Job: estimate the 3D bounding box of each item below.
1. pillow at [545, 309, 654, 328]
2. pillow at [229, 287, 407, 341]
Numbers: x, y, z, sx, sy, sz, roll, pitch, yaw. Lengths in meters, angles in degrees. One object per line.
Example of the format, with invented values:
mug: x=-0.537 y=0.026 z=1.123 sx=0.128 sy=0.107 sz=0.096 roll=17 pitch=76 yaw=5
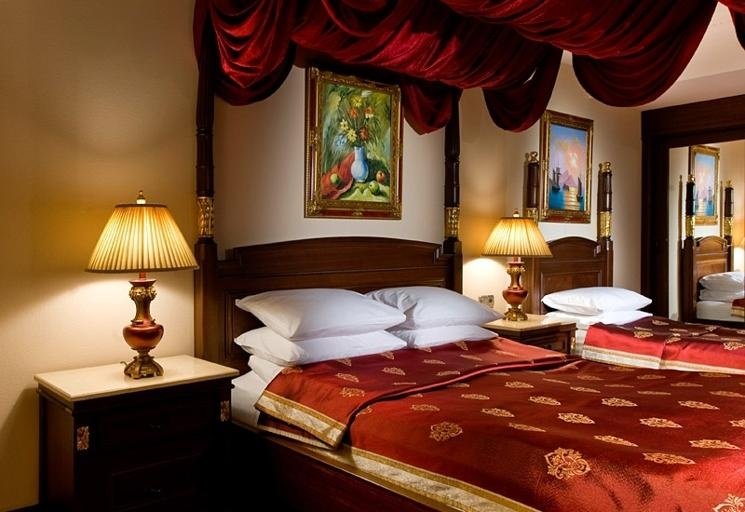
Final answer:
pillow: x=1.963 y=0.528 z=4.514 sx=0.490 sy=0.074 sz=0.318 roll=1 pitch=2 yaw=-32
pillow: x=-0.347 y=0.312 z=3.182 sx=0.522 sy=0.126 sz=0.431 roll=-2 pitch=11 yaw=-35
